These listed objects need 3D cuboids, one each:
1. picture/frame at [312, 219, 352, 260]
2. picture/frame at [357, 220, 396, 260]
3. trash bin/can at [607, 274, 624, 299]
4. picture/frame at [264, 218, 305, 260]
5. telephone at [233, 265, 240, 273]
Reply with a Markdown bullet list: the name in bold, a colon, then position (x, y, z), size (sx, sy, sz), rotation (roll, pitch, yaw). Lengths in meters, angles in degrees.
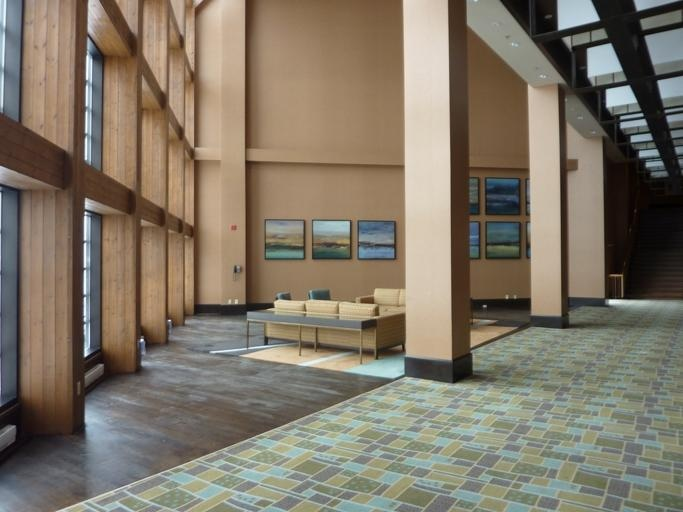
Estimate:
- **picture/frame**: position (-0.368, -0.533, 16.579), size (1.346, 1.267, 0.138), rotation (1, 0, -6)
- **picture/frame**: position (1.131, -0.523, 16.770), size (1.325, 1.307, 0.093), rotation (1, -2, -8)
- **trash bin/can**: position (10.714, 1.140, 19.403), size (0.509, 0.928, 0.437), rotation (0, 1, 27)
- **picture/frame**: position (-1.936, -0.532, 16.448), size (1.341, 1.274, 0.092), rotation (1, 0, -6)
- **telephone**: position (-3.350, 0.400, 16.020), size (0.217, 0.204, 0.211), rotation (-1, -1, 2)
